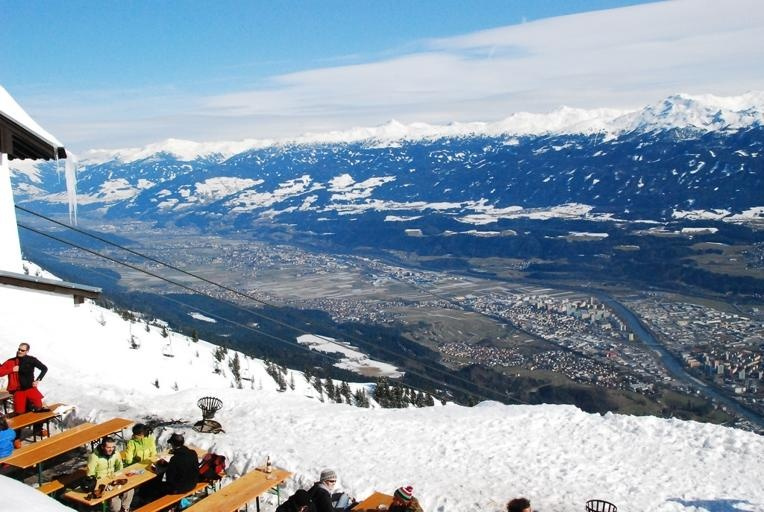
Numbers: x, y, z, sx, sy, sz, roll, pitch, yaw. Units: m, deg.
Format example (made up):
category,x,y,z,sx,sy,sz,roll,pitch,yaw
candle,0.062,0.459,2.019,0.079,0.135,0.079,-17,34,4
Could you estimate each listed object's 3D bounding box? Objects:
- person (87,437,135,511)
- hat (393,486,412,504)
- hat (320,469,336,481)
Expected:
category,x,y,z,sx,sy,sz,roll,pitch,yaw
person,-8.948,7.173,21.585,1.374,2.387,0.955,-4,12,-20
hat,0.713,7.485,20.827,0.545,0.420,0.503,31,-2,20
hat,-1.731,7.057,21.310,0.503,0.272,0.401,1,-1,-30
